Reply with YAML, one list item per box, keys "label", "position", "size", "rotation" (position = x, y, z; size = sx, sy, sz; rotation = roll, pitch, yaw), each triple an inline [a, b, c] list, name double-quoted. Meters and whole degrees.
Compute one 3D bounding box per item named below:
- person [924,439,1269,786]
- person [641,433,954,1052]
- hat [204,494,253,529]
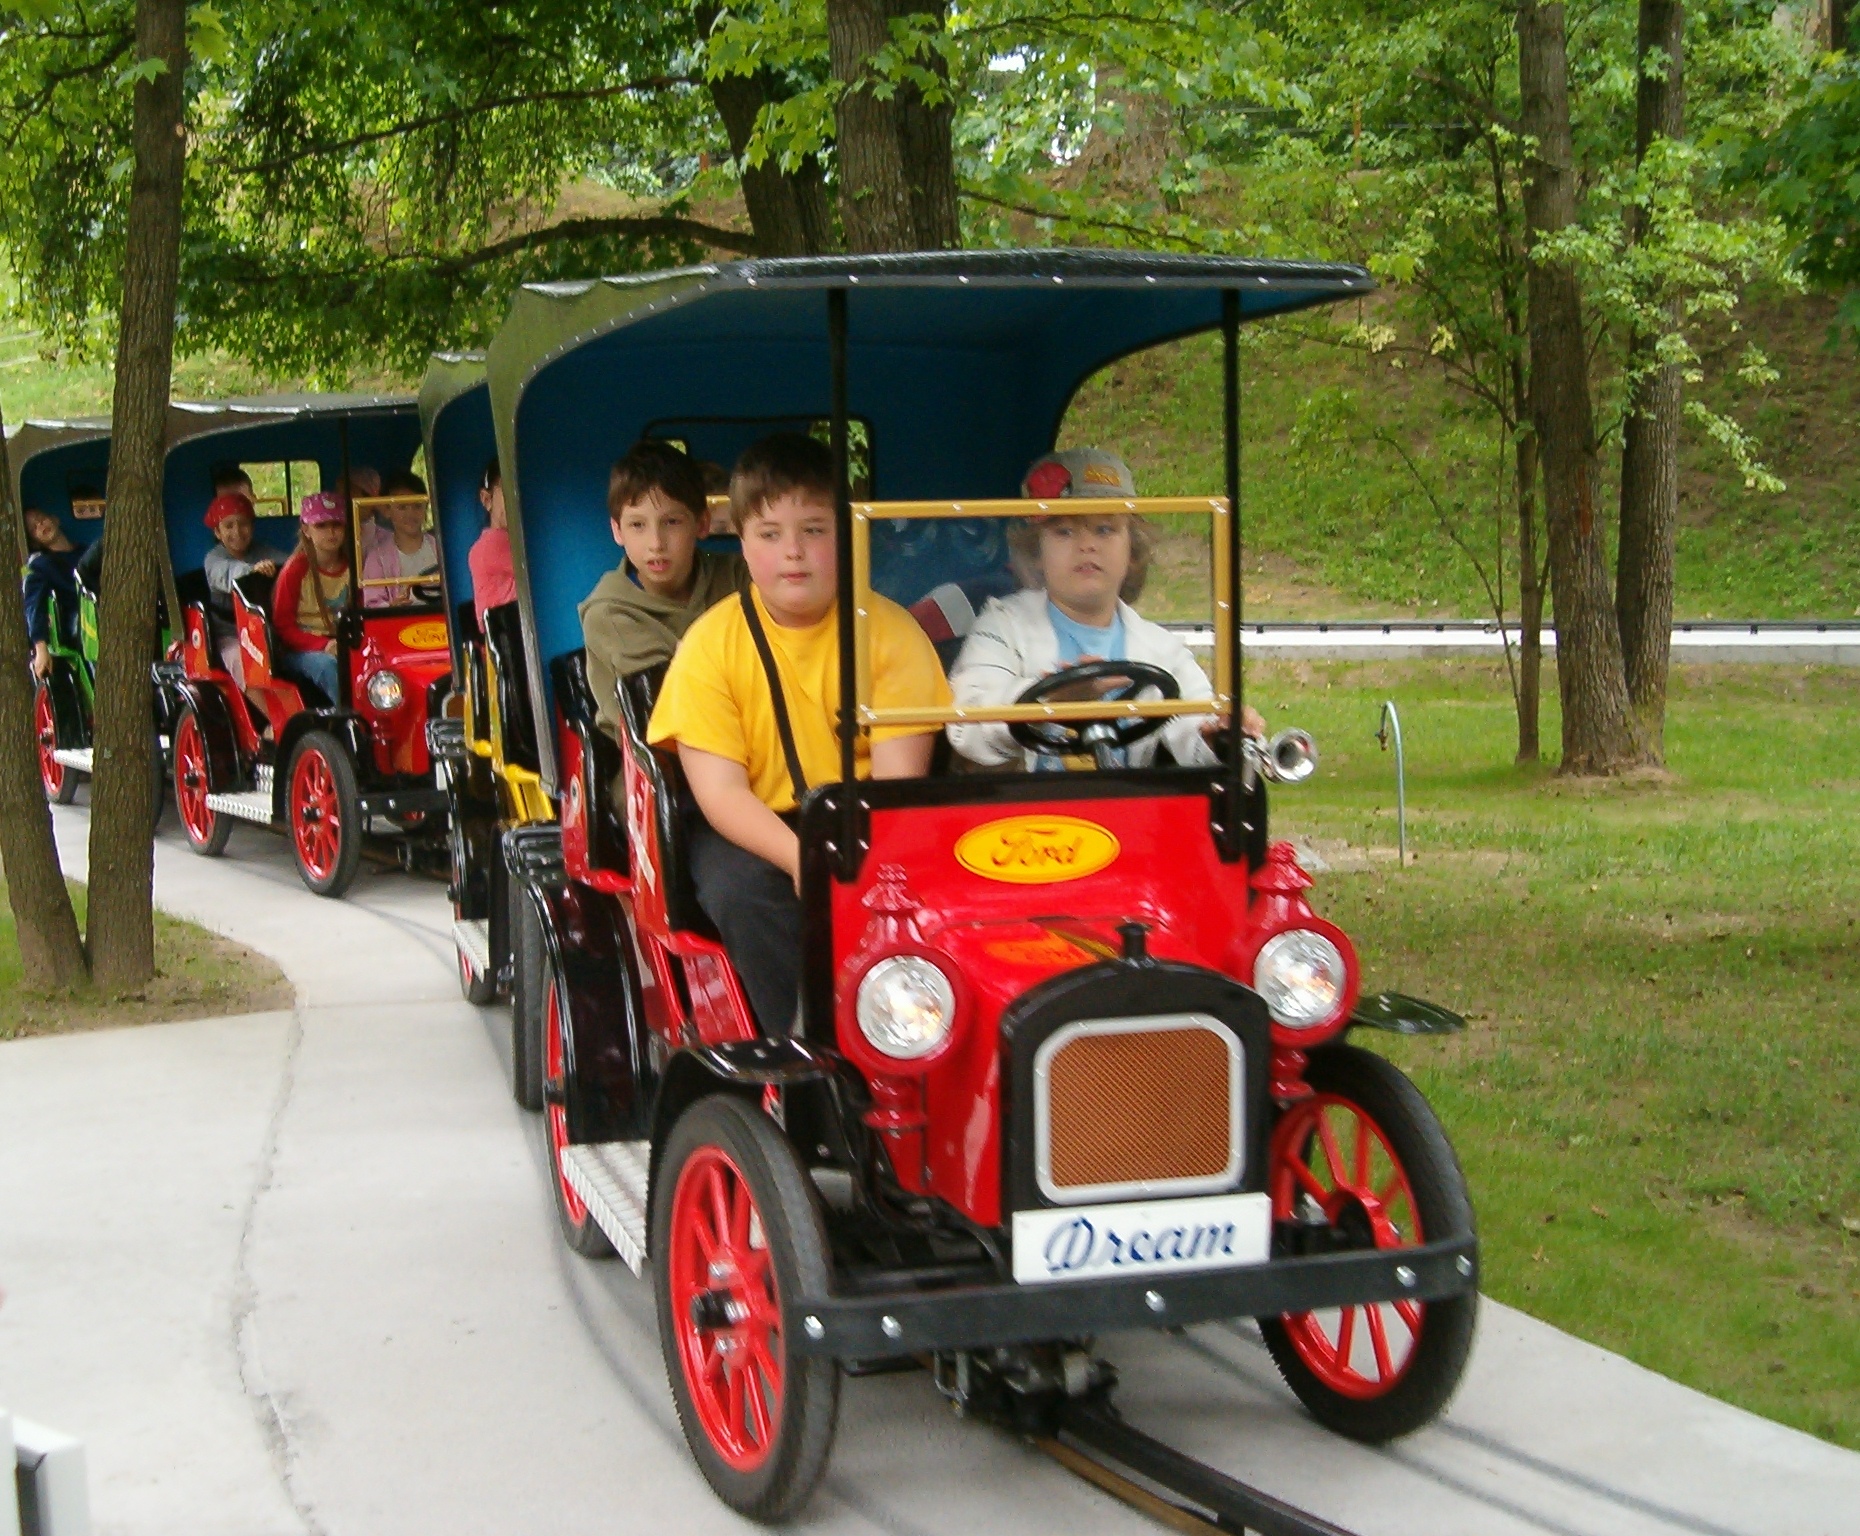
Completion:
- label: "person"
  position: [0.383, -0.409, 5.237]
  size: [0.693, 0.816, 0.556]
  rotation: [-1, 9, -2]
- label: "person"
  position: [-0.366, -0.092, 5.338]
  size: [0.452, 1.552, 0.944]
  rotation: [-7, 11, -39]
- label: "hat"
  position: [-4.735, -1.744, 13.815]
  size: [0.289, 0.254, 0.228]
  rotation: [-21, -16, 41]
